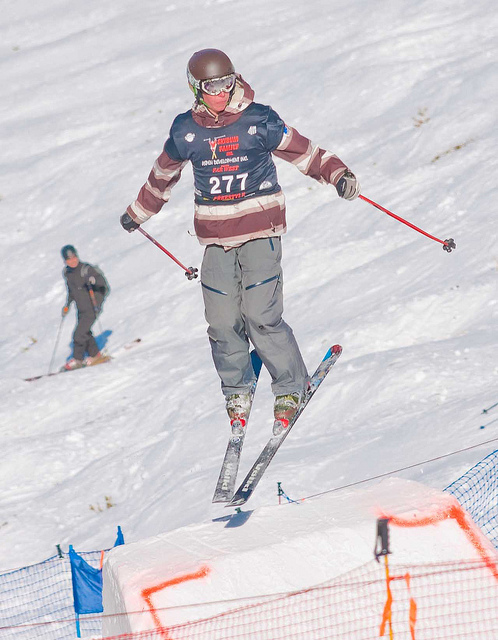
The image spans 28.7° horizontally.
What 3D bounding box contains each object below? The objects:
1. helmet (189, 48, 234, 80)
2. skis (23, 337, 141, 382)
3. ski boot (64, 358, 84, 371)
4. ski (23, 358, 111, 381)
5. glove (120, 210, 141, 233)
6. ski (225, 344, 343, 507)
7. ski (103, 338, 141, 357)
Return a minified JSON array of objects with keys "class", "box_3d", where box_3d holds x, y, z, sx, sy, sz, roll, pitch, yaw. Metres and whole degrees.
[{"class":"helmet","box_3d":[-0.347,-2.230,8.484,0.365,0.223,0.336,-12,21,-6]},{"class":"skis","box_3d":[-2.608,0.636,15.496,1.720,0.163,0.166,-19,20,-12]},{"class":"ski boot","box_3d":[-2.815,0.707,15.570,0.164,0.112,0.280,2,7,24]},{"class":"ski","box_3d":[-2.829,0.778,15.318,1.034,0.102,0.065,-17,25,-20]},{"class":"glove","box_3d":[-1.201,-0.974,9.716,0.140,0.254,0.095,-46,23,3]},{"class":"ski","box_3d":[0.338,1.092,9.711,0.280,0.119,2.474,35,54,16]},{"class":"ski","box_3d":[-2.060,0.446,15.910,0.572,0.075,0.060,-23,54,12]}]
